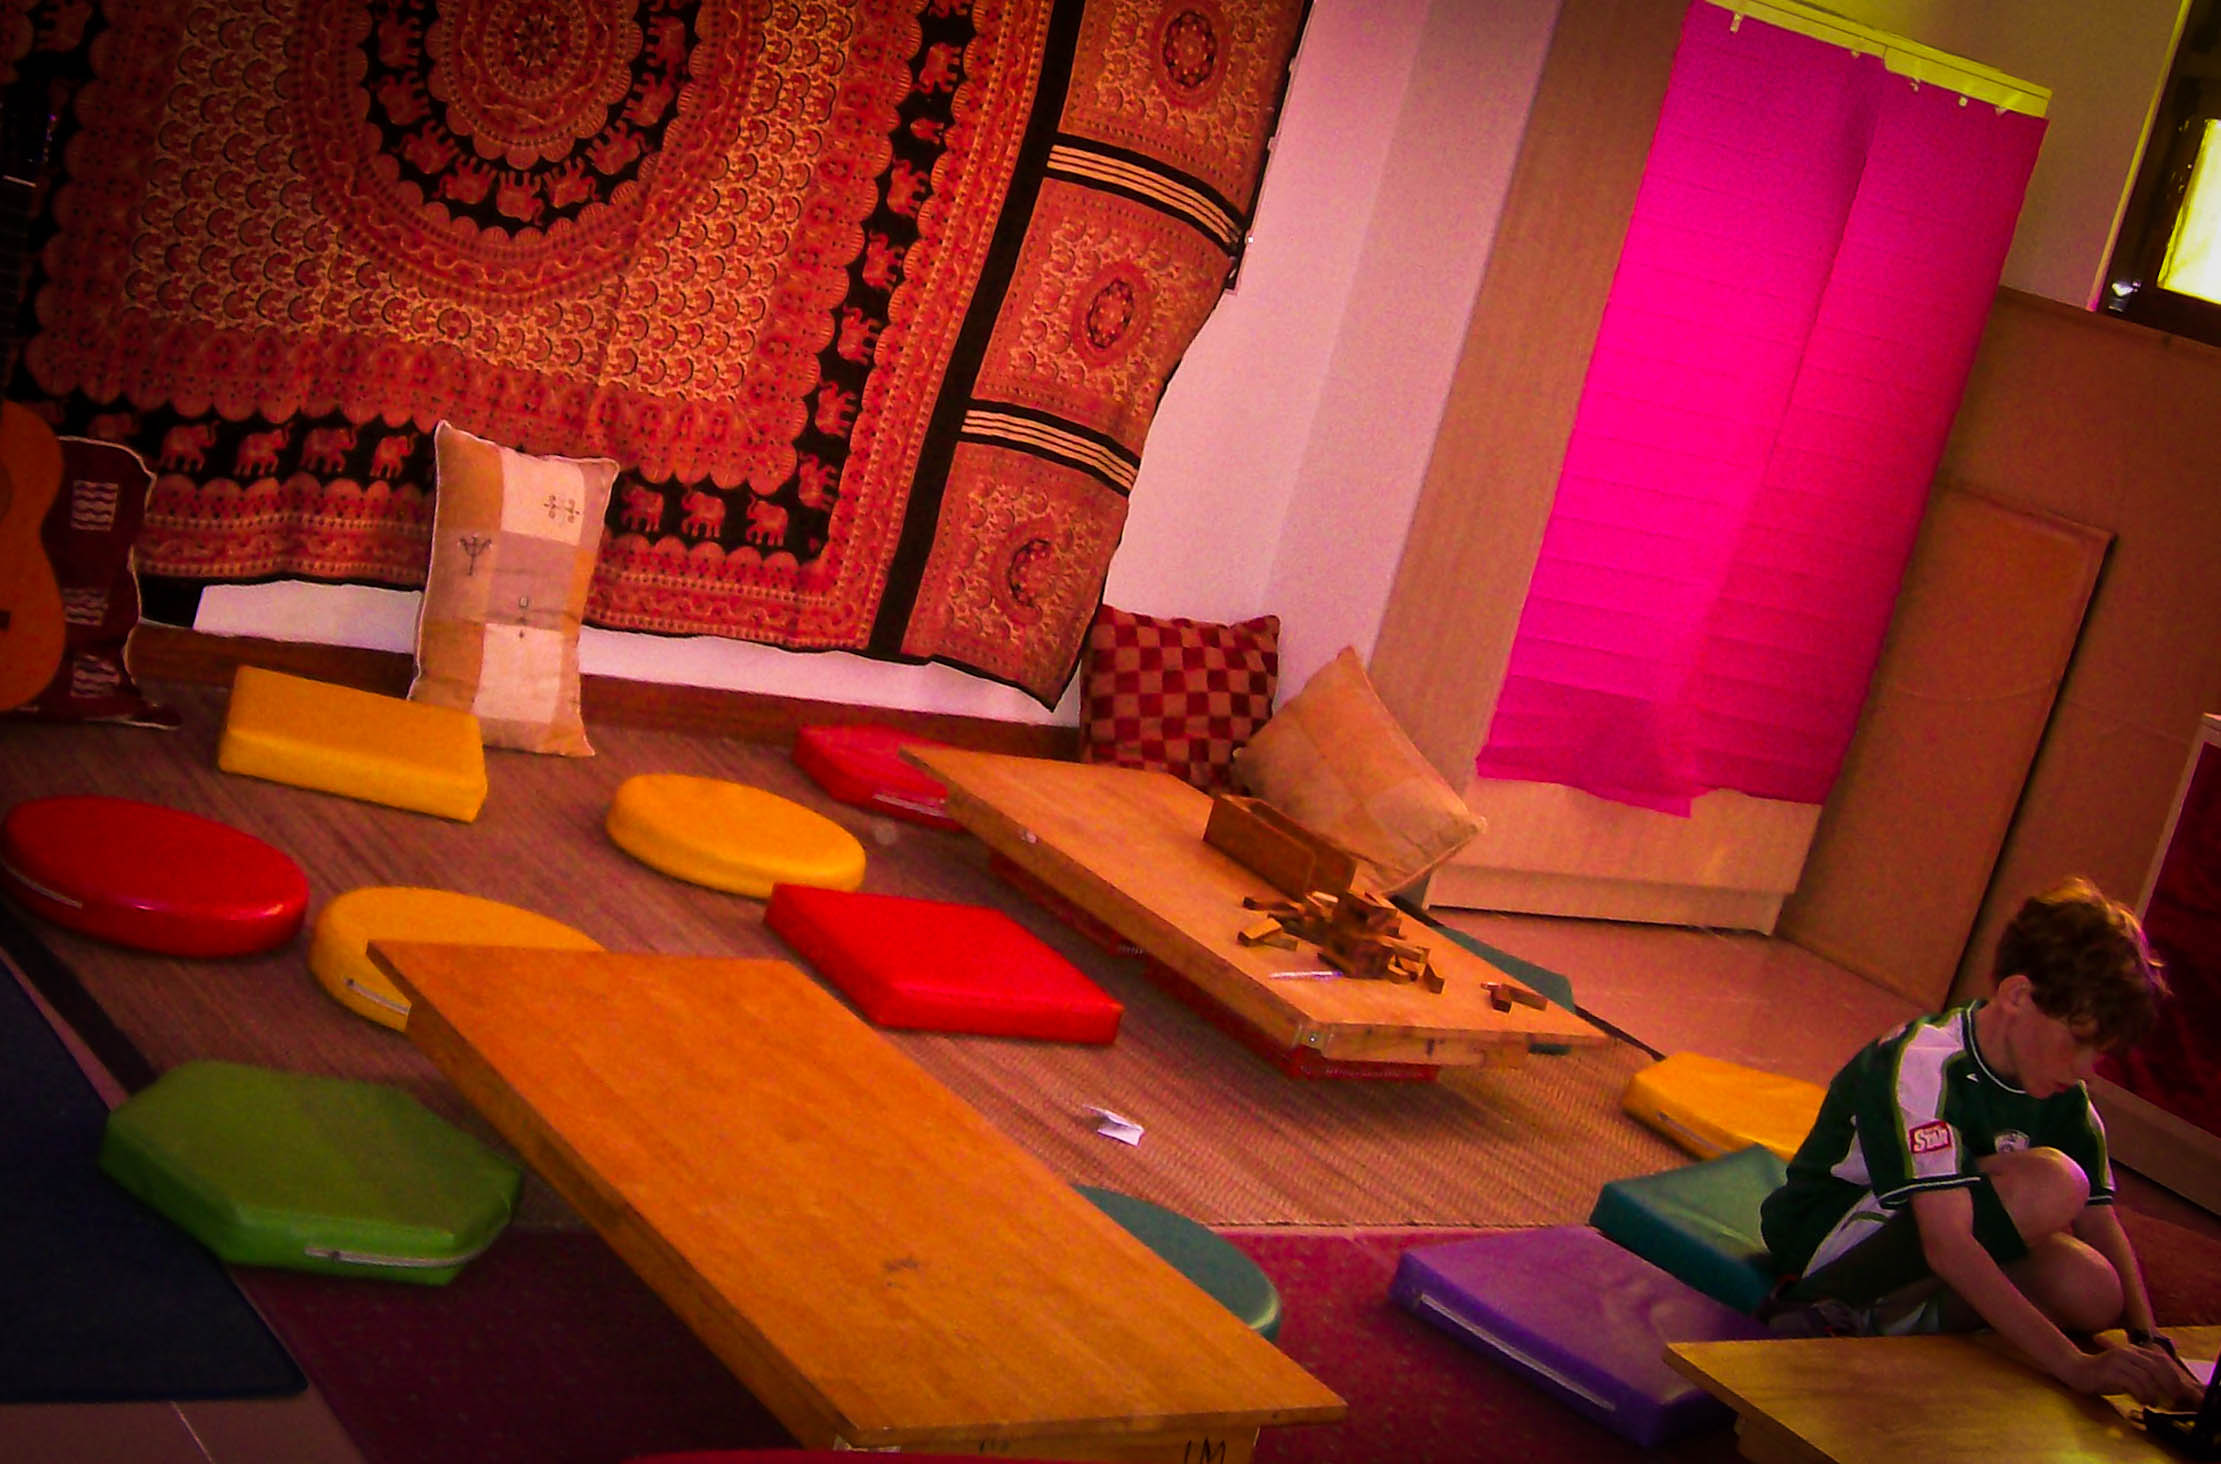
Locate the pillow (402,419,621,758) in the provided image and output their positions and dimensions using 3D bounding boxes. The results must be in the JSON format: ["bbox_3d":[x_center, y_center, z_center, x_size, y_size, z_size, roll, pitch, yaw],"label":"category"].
[{"bbox_3d":[-1.726,-0.385,4.364,0.539,0.927,0.325,1,16,-27],"label":"pillow"}]

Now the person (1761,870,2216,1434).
[{"bbox_3d":[1.832,0.773,3.294,1.001,1.042,0.677,20,16,41],"label":"person"}]
